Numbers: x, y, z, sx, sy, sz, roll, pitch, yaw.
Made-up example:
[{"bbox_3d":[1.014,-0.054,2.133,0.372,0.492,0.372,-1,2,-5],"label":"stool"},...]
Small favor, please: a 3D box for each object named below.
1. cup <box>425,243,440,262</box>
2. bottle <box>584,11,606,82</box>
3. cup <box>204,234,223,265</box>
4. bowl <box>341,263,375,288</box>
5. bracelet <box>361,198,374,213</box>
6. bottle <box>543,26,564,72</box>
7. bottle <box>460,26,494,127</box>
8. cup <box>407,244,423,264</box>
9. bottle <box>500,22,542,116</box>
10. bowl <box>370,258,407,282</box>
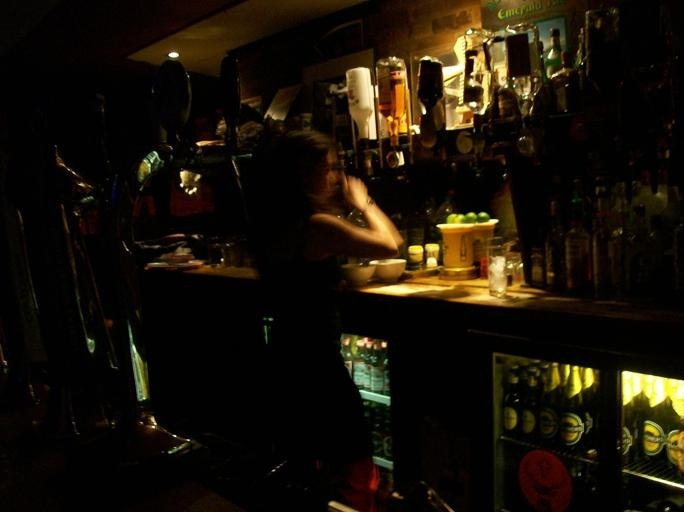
[{"bbox_3d":[0.454,-0.025,2.882,0.057,0.084,0.102,-3,5,28],"label":"cup"},{"bbox_3d":[0.888,-0.736,2.026,0.080,0.238,0.036,-2,5,37],"label":"bottle"},{"bbox_3d":[-0.727,-0.040,3.332,0.078,0.158,0.224,-6,4,-17],"label":"cup"},{"bbox_3d":[0.079,0.079,2.586,0.111,0.071,0.109,1,1,0],"label":"bowl"},{"bbox_3d":[0.109,-0.215,2.405,0.043,0.059,0.021,5,1,22],"label":"bracelet"},{"bbox_3d":[0.827,-0.804,2.268,0.069,0.196,0.123,-3,4,21],"label":"bottle"},{"bbox_3d":[0.552,-0.758,2.349,0.121,0.416,0.329,-4,4,15],"label":"bottle"},{"bbox_3d":[0.360,-0.011,2.830,0.079,0.083,0.078,0,7,0],"label":"cup"},{"bbox_3d":[0.698,-0.724,2.216,0.131,0.382,0.209,-3,4,19],"label":"bottle"},{"bbox_3d":[0.226,0.056,2.698,0.117,0.072,0.118,2,-1,0],"label":"bowl"}]
